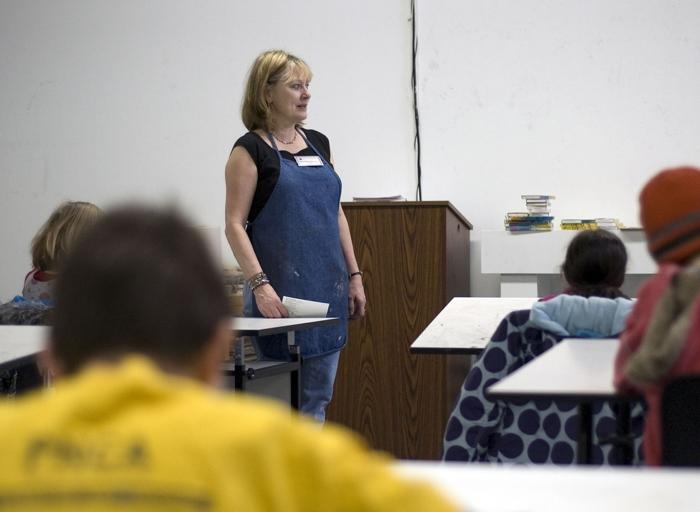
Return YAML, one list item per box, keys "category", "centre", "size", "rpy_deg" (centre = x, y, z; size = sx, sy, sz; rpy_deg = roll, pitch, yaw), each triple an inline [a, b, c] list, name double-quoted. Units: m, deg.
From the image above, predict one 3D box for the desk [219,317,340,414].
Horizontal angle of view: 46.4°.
- category: "desk"
  centre: [-0.252, 0.374, 2.550]
  size: [0.253, 0.247, 0.257]
  rpy_deg: [-11, -10, -10]

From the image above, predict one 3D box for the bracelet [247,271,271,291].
- category: "bracelet"
  centre: [-0.283, 0.075, 2.567]
  size: [0.057, 0.041, 0.051]
  rpy_deg: [-21, 7, 29]
